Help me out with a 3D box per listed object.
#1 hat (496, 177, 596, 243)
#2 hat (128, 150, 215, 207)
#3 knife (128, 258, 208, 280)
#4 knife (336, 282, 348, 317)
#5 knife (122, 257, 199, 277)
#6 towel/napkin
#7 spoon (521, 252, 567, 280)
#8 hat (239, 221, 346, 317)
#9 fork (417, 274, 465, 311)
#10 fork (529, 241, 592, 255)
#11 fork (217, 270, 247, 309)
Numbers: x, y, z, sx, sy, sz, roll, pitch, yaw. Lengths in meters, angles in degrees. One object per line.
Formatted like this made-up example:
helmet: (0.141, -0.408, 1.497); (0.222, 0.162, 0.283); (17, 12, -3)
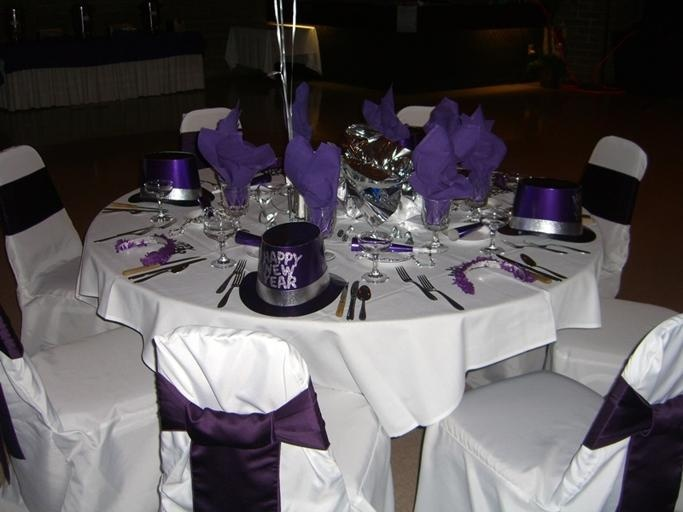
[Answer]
hat: (0.819, -0.194, 1.949); (0.270, 0.211, 0.293); (10, 19, 37)
hat: (-0.736, -0.358, 2.179); (0.250, 0.153, 0.252); (-9, 39, -27)
knife: (-0.593, 0.040, 1.687); (0.259, 0.024, 0.081); (-14, 37, -31)
knife: (0.003, 0.132, 1.493); (0.018, 0.013, 0.117); (12, 35, 8)
knife: (-0.618, 0.038, 1.679); (0.236, 0.013, 0.040); (-7, 48, -18)
towel/napkin: (0.046, -0.381, 1.919); (1.184, 0.525, 0.495); (1, 22, -1)
spoon: (0.685, 0.040, 1.669); (0.044, 0.037, 0.196); (-19, 38, -15)
hat: (-0.155, 0.029, 1.511); (0.338, 0.219, 0.232); (1, 22, 0)
fork: (0.314, 0.117, 1.535); (0.023, 0.021, 0.160); (-32, 39, -11)
fork: (0.810, -0.030, 1.793); (0.124, 0.017, 0.027); (10, 47, 19)
fork: (-0.351, 0.106, 1.557); (0.024, 0.022, 0.178); (31, 37, 5)
